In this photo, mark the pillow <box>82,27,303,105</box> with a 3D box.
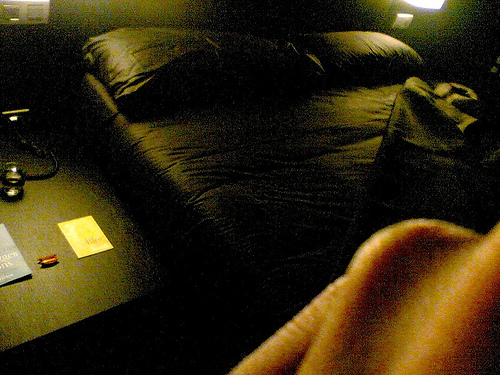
[{"bbox_3d":[-0.250,-0.578,2.012,0.964,0.239,0.450,-9,40,-20],"label":"pillow"}]

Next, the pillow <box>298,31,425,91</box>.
[{"bbox_3d":[0.631,-0.729,2.544,0.560,0.156,0.316,-16,55,-39],"label":"pillow"}]

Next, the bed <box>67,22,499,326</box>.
[{"bbox_3d":[0.168,-0.227,1.880,1.574,0.567,1.621,-14,41,-25],"label":"bed"}]
